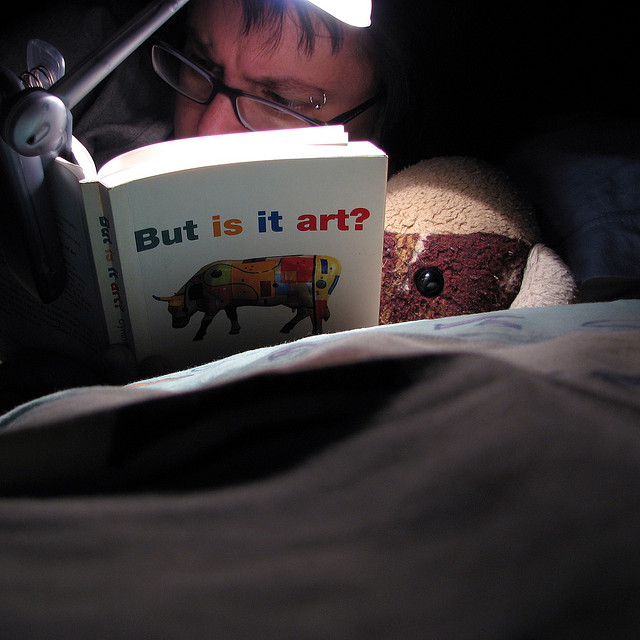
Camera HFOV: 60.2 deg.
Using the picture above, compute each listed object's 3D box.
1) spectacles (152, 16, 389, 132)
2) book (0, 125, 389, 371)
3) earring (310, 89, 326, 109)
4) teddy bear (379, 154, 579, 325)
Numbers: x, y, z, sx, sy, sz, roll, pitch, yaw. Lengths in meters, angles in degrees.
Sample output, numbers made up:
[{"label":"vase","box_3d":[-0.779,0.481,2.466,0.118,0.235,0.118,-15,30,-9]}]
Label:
[{"label":"spectacles","box_3d":[-0.131,-0.355,0.845,0.282,0.109,0.045,14,27,14]},{"label":"book","box_3d":[-0.111,-0.060,0.474,0.258,0.203,0.098,-1,35,-4]},{"label":"earring","box_3d":[-0.003,-0.331,0.824,0.024,0.028,0.010,7,26,-3]},{"label":"teddy bear","box_3d":[0.183,-0.095,0.689,0.193,0.166,0.240,-3,5,9]}]
